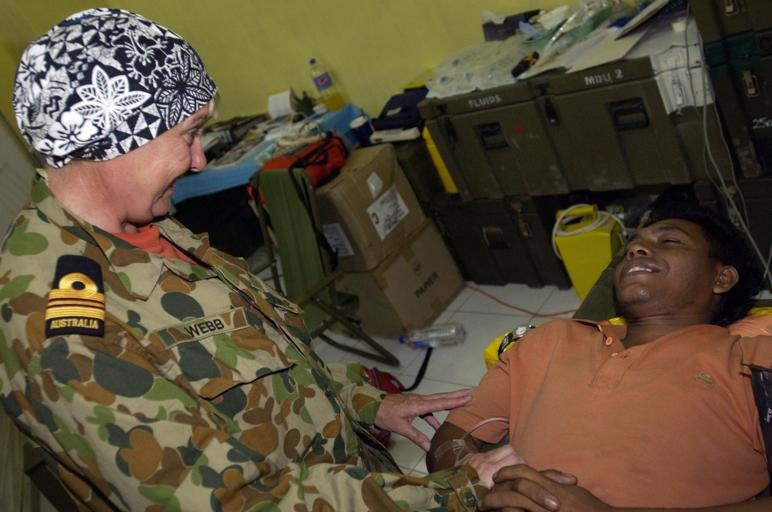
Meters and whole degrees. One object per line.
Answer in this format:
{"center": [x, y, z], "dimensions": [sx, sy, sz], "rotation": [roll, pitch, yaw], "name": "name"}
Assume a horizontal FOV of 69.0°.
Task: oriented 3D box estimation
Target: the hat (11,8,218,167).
{"center": [-0.672, -0.410, 1.539], "dimensions": [0.474, 0.273, 0.386], "rotation": [-14, 54, 2], "name": "hat"}

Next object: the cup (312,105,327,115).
{"center": [-0.481, -1.071, 4.089], "dimensions": [0.092, 0.054, 0.091], "rotation": [-2, 23, 1], "name": "cup"}
